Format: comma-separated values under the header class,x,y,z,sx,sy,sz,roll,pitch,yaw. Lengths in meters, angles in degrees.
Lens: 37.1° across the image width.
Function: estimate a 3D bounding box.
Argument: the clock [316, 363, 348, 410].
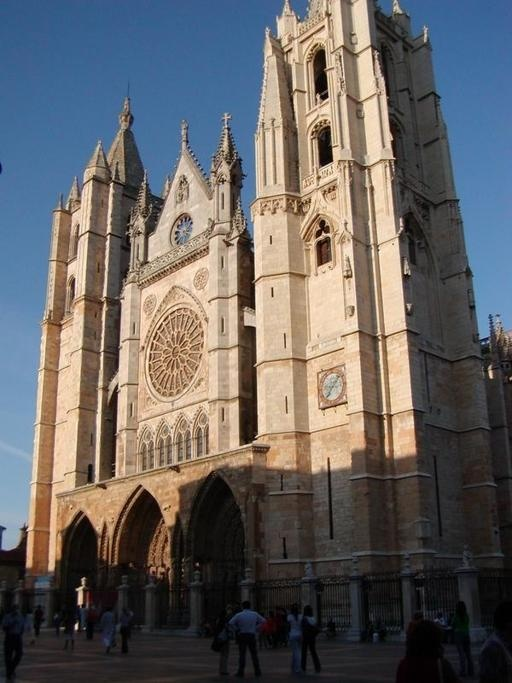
class,x,y,z,sx,sy,sz,roll,pitch,yaw
clock,2.617,1.599,25.614,0.084,1.250,1.211,22,-48,-26
